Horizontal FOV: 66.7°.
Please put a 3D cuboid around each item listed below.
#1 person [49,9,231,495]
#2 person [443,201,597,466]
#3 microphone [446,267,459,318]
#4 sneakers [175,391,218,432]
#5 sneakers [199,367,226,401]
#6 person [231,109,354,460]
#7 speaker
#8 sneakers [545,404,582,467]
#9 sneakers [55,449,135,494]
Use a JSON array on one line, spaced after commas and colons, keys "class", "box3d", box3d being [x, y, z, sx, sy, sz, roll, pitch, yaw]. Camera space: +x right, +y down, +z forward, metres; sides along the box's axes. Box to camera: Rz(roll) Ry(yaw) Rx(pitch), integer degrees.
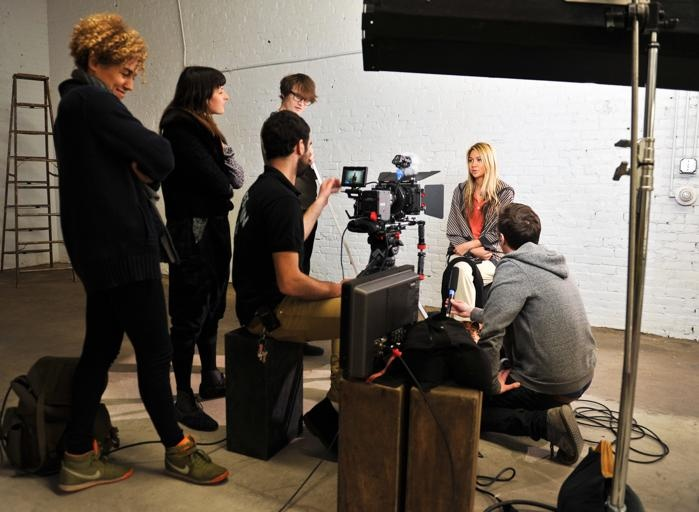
[{"class": "person", "box3d": [-0.959, 0.018, 2.250, 0.634, 2.040, 0.219, -3, 7, -18]}, {"class": "person", "box3d": [0.906, 0.381, 2.573, 0.520, 1.259, 0.538, 2, 7, 25]}, {"class": "microphone", "box3d": [0.658, 0.227, 3.385, 0.065, 0.069, 0.468, 6, 46, 8]}, {"class": "sneakers", "box3d": [-0.843, 0.830, 2.849, 0.312, 0.202, 0.112, 7, -4, 30]}, {"class": "sneakers", "box3d": [-0.804, 0.760, 3.220, 0.136, 0.176, 0.267, 1, 5, 10]}, {"class": "person", "box3d": [-0.263, -0.131, 2.564, 0.607, 1.155, 0.354, 4, 8, 35]}, {"class": "speaker", "box3d": [-0.440, 0.681, 2.675, 0.327, 0.550, 0.345, 1, 1, 12]}, {"class": "sneakers", "box3d": [1.008, 0.844, 2.559, 0.134, 0.331, 0.156, -8, 12, -2]}, {"class": "sneakers", "box3d": [-1.119, 0.937, 2.414, 0.128, 0.176, 0.376, 7, 2, 44]}]
